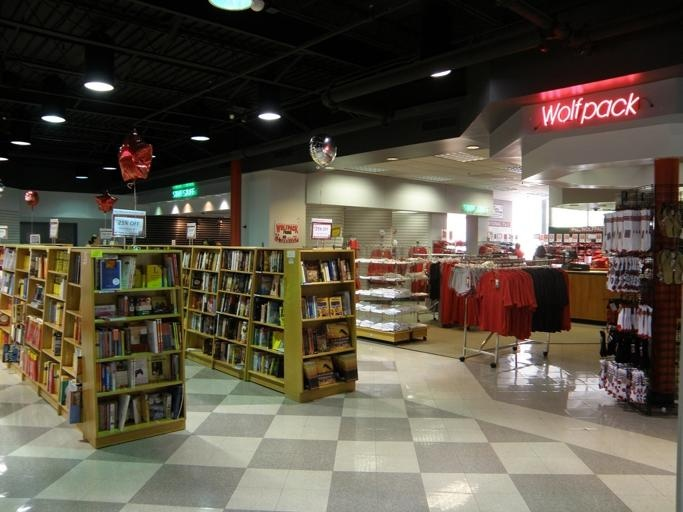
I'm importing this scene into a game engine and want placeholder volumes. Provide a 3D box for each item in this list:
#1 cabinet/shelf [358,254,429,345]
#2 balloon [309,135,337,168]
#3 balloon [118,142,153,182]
[{"bbox_3d":[1.262,1.014,11.244,1.105,1.791,1.812,-2,3,-32],"label":"cabinet/shelf"},{"bbox_3d":[-0.278,-1.653,7.567,0.349,0.431,0.392,4,10,25],"label":"balloon"},{"bbox_3d":[-2.867,-1.310,6.770,0.384,0.520,0.719,-4,10,-25],"label":"balloon"}]
